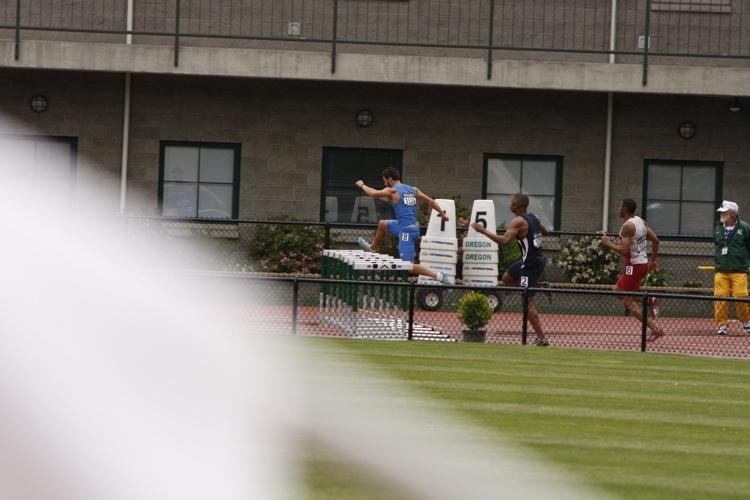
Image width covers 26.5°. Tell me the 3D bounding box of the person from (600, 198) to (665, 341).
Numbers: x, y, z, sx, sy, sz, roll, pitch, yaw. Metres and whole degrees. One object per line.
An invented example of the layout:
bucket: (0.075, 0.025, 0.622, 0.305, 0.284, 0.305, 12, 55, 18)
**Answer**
person: (4.283, 0.362, 26.655, 1.124, 2.412, 0.854, 1, 0, -15)

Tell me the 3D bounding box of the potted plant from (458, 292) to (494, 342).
potted plant: (1.624, 1.090, 25.690, 0.726, 0.901, 0.653, 1, 3, 4)
